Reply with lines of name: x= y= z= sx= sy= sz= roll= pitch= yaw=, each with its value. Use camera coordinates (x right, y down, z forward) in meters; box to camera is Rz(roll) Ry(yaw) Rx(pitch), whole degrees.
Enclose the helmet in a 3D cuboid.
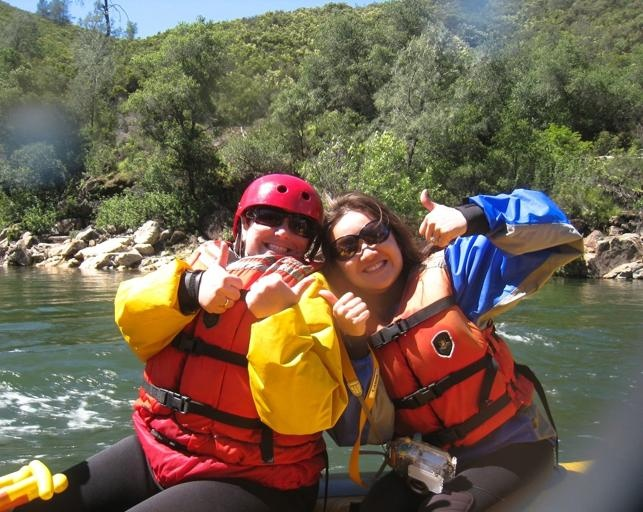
helmet: x=-0.241 y=-0.303 z=3.225 sx=0.293 sy=0.319 sz=0.400 roll=14 pitch=-30 yaw=-7
